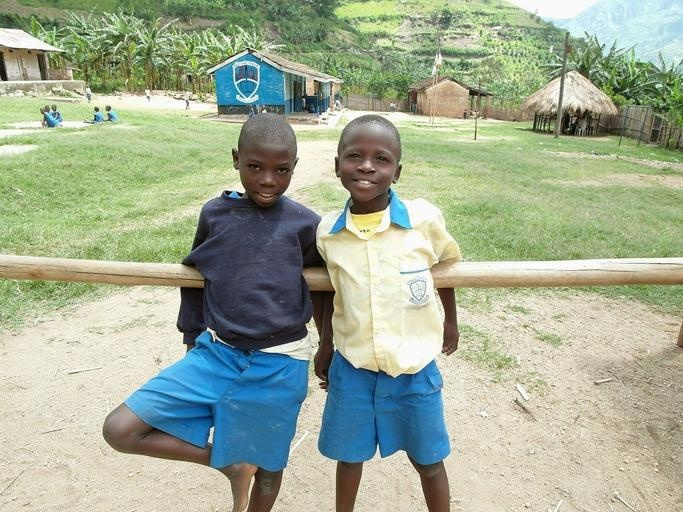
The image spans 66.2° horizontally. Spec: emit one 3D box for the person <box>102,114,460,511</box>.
[{"bbox_3d":[-0.593,0.320,2.750,0.830,2.043,1.033,6,20,13],"label":"person"}]

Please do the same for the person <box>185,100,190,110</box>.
[{"bbox_3d":[-9.353,-9.020,31.391,0.222,0.494,0.947,-7,19,-21],"label":"person"}]
